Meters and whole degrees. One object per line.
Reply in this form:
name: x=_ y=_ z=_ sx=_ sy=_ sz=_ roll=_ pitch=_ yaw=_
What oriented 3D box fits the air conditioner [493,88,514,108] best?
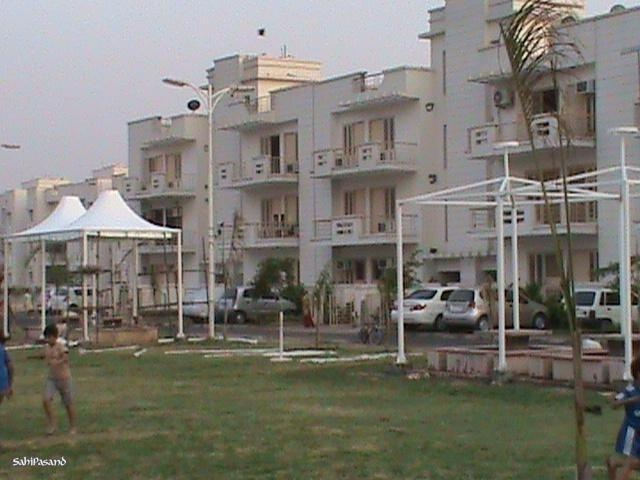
air conditioner: x=7.545 y=-5.832 z=40.280 sx=0.372 sy=0.820 sz=0.896 roll=3 pitch=-6 yaw=-42

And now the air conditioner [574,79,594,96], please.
air conditioner: x=10.143 y=-5.852 z=37.636 sx=0.895 sy=0.552 sz=0.640 roll=3 pitch=9 yaw=44
